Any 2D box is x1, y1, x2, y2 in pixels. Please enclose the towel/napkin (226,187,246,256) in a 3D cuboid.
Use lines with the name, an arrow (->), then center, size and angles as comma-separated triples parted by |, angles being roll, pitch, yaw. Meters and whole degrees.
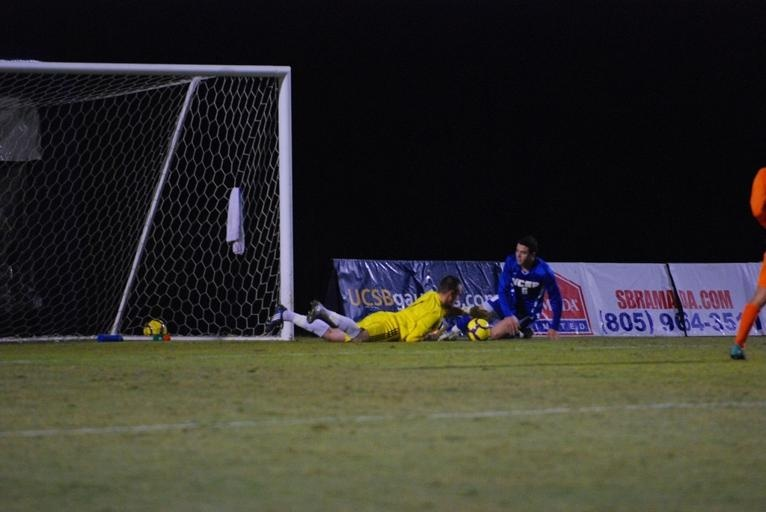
towel/napkin -> -1.776, -0.425, 9.941 | 0.199, 0.780, 0.305 | -1, 12, -12

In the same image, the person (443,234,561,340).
person -> 1.473, 0.491, 10.537 | 1.609, 1.529, 1.008 | -1, 16, -19

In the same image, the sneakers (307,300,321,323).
sneakers -> -0.750, 0.647, 9.196 | 0.148, 0.303, 0.109 | 8, 24, -22

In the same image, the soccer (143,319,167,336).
soccer -> -2.766, 0.871, 10.049 | 0.265, 0.231, 0.194 | -2, 1, 0

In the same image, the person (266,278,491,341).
person -> 0.112, 0.709, 9.981 | 2.821, 0.879, 0.791 | 2, 14, -18
